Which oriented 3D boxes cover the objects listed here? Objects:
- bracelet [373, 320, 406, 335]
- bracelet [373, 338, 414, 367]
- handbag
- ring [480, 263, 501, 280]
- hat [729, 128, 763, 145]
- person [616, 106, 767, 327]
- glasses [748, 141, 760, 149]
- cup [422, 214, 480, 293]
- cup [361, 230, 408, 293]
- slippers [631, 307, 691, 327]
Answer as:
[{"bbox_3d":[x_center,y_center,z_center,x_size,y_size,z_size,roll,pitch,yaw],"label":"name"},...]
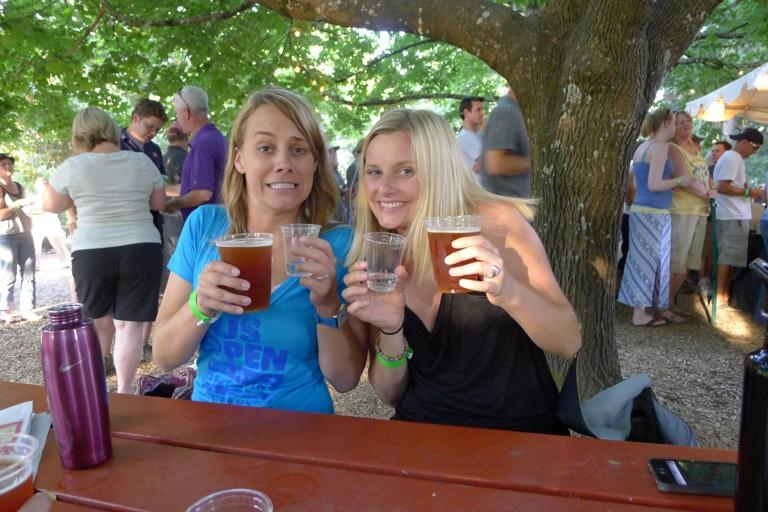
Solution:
[{"bbox_3d":[0.037,0.440,3.421,0.171,0.090,0.184,-2,8,1],"label":"bracelet"},{"bbox_3d":[0.062,0.592,3.437,0.240,0.171,0.111,-2,8,-4],"label":"bracelet"},{"bbox_3d":[1.379,0.770,3.136,0.476,0.294,0.615,8,-5,-10],"label":"handbag"},{"bbox_3d":[0.576,0.084,3.014,0.092,0.033,0.068,8,39,46],"label":"ring"},{"bbox_3d":[5.320,-1.745,8.242,0.302,0.242,0.475,-8,16,-40],"label":"hat"},{"bbox_3d":[3.580,-0.467,7.033,1.185,2.663,0.584,-7,10,-30],"label":"person"},{"bbox_3d":[5.405,-1.600,8.099,0.100,0.073,0.098,3,12,8],"label":"glasses"},{"bbox_3d":[0.337,0.012,3.122,0.417,0.484,0.390,-4,-3,0],"label":"cup"},{"bbox_3d":[-0.001,0.034,3.156,0.309,0.325,0.297,2,-3,0],"label":"cup"},{"bbox_3d":[3.539,0.798,7.218,0.803,0.310,0.285,-2,0,-5],"label":"slippers"}]
